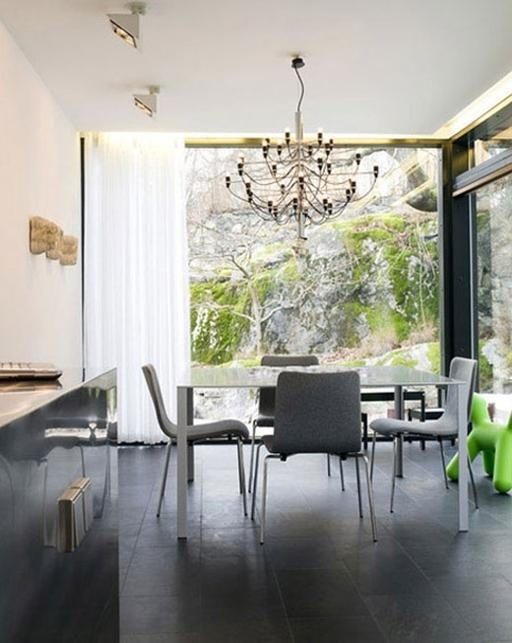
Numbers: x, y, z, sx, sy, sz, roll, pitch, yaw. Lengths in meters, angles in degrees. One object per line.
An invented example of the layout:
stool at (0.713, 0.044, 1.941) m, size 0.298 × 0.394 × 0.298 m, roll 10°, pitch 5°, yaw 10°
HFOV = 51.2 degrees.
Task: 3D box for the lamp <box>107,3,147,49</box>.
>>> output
lamp at (-0.605, -1.384, 2.530) m, size 0.167 × 0.205 × 0.209 m, roll 0°, pitch 0°, yaw -15°

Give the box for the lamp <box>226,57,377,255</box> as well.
lamp at (0.350, -1.245, 4.121) m, size 0.967 × 1.989 × 1.173 m, roll 0°, pitch -1°, yaw -4°

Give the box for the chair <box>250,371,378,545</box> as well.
chair at (0.280, 0.614, 2.607) m, size 0.599 × 0.790 × 0.622 m, roll 0°, pitch 0°, yaw -2°
